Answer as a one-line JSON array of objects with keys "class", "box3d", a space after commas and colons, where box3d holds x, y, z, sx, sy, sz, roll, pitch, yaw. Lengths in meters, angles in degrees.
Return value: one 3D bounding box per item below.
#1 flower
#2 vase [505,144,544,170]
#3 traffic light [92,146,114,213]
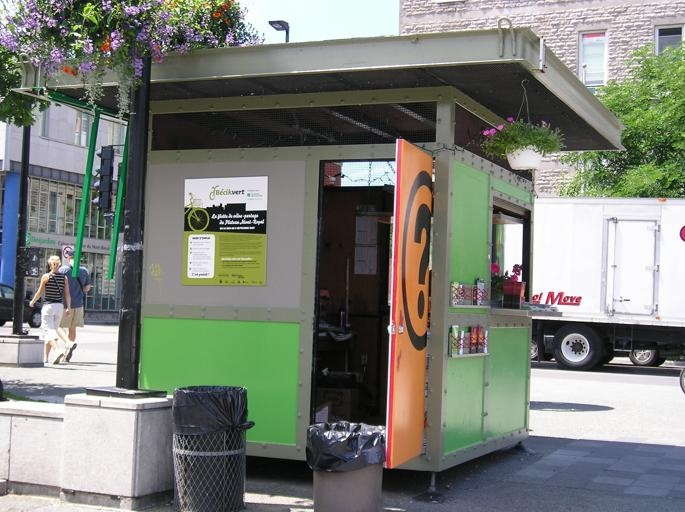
[{"class": "flower", "box3d": [1.936, -1.291, 8.332, 0.783, 0.406, 0.680, 0, -1, 3]}, {"class": "vase", "box3d": [1.927, -1.042, 8.240, 0.374, 0.203, 0.322, 0, -4, 12]}, {"class": "traffic light", "box3d": [-2.494, -0.808, 8.087, 0.189, 0.719, 0.492, 2, -4, -18]}]
